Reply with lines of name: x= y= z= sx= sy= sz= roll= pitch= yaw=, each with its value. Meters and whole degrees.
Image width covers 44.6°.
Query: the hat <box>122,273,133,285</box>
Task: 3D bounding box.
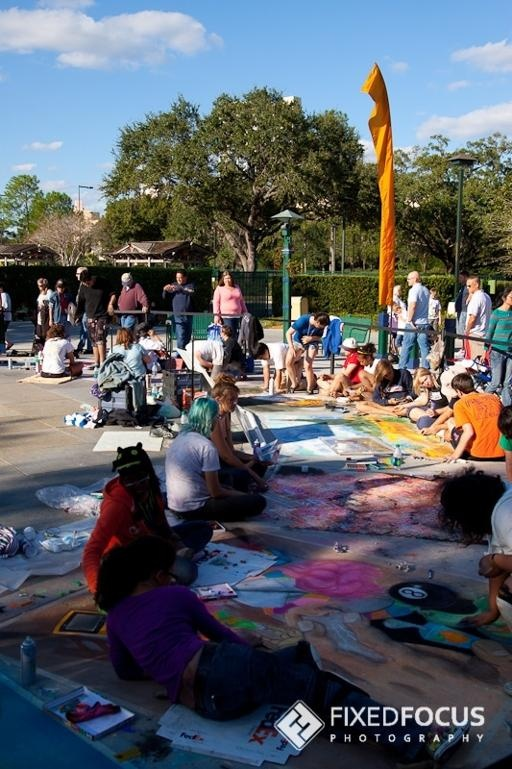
hat: x=-2.465 y=-1.980 z=11.760 sx=0.274 sy=0.273 sz=0.346 roll=0 pitch=8 yaw=-5

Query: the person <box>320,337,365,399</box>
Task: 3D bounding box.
person: x=1.417 y=-0.330 z=10.144 sx=0.831 sy=1.213 sz=0.884 roll=1 pitch=13 yaw=-2

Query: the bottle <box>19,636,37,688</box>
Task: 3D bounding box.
bottle: x=-0.905 y=1.077 z=2.487 sx=0.064 sy=0.186 sz=0.137 roll=-1 pitch=4 yaw=-22

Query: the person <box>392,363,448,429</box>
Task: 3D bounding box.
person: x=2.190 y=0.150 z=8.231 sx=0.640 sy=0.704 sz=1.217 roll=1 pitch=4 yaw=3

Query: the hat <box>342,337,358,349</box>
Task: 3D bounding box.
hat: x=1.509 y=-0.651 z=9.861 sx=0.230 sy=0.107 sz=0.177 roll=5 pitch=-1 yaw=-32

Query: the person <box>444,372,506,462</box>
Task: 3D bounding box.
person: x=2.188 y=0.336 z=6.283 sx=0.536 sy=0.881 sz=0.601 roll=2 pitch=4 yaw=27

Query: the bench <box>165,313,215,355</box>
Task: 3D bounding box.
bench: x=-1.401 y=-1.052 z=13.222 sx=0.889 sy=0.571 sz=0.909 roll=9 pitch=19 yaw=31

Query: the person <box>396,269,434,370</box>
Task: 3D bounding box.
person: x=2.836 y=-1.137 z=11.329 sx=0.563 sy=1.799 sz=0.527 roll=-2 pitch=6 yaw=-23

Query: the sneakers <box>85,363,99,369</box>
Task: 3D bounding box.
sneakers: x=-3.214 y=-0.374 z=12.242 sx=0.126 sy=0.150 sz=0.345 roll=-1 pitch=6 yaw=-34

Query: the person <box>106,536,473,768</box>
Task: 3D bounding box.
person: x=0.086 y=1.034 z=2.483 sx=1.362 sy=0.647 sz=0.552 roll=10 pitch=-34 yaw=5

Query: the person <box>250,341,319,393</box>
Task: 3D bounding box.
person: x=0.397 y=-0.325 z=10.942 sx=0.840 sy=0.803 sz=1.823 roll=1 pitch=4 yaw=4

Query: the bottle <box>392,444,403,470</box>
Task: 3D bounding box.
bottle: x=1.408 y=0.710 z=6.282 sx=0.112 sy=0.180 sz=0.290 roll=1 pitch=4 yaw=13

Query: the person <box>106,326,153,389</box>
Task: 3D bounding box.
person: x=-1.676 y=-0.415 z=8.309 sx=0.507 sy=0.697 sz=0.965 roll=0 pitch=4 yaw=-10

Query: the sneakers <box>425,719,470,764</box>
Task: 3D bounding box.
sneakers: x=0.625 y=1.162 z=2.045 sx=0.042 sy=0.117 sz=0.086 roll=41 pitch=-8 yaw=-15
